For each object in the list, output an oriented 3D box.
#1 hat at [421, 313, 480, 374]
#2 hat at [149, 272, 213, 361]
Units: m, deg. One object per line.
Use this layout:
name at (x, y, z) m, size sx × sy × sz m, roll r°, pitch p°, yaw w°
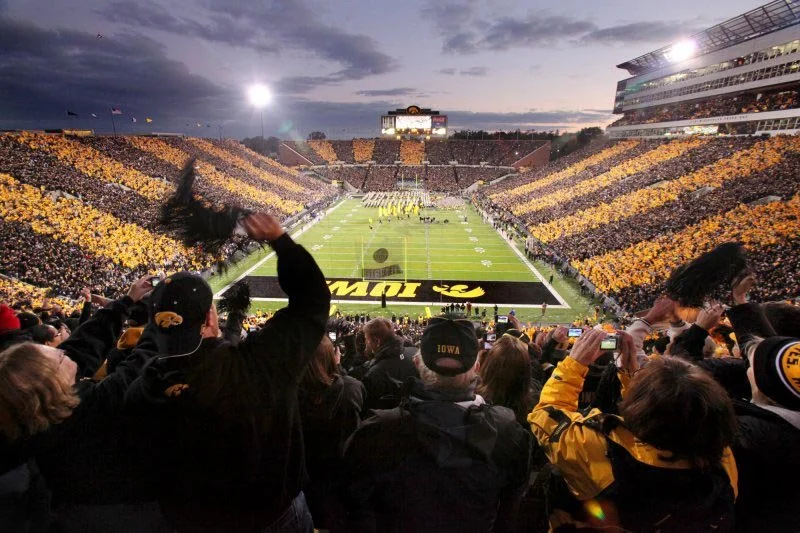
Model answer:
hat at (0.443, 0.527, 3.817) m, size 0.615 × 0.284 × 0.726 m, roll 3°, pitch 26°, yaw 12°
hat at (-1.556, 0.275, 3.213) m, size 0.519 × 0.292 × 0.667 m, roll -15°, pitch 43°, yaw -5°
